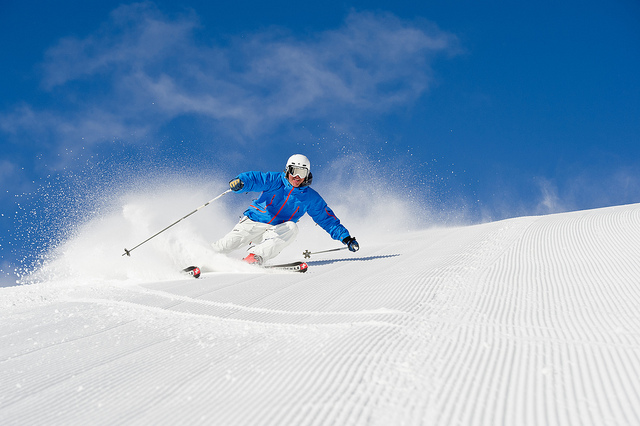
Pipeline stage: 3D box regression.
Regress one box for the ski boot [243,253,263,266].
[{"bbox_3d":[-1.337,0.954,11.256,0.378,0.228,0.298,-29,12,-10],"label":"ski boot"}]
